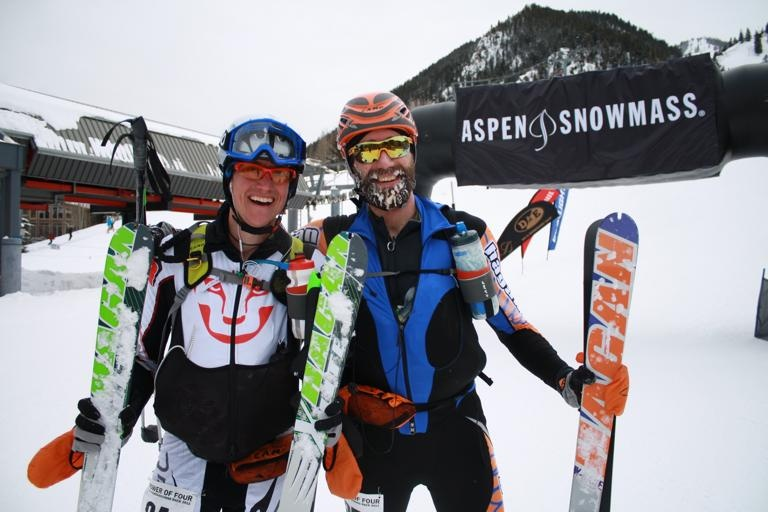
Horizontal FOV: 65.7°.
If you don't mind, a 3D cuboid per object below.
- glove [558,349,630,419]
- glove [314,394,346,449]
[{"bbox_3d":[2.573,1.532,7.340,0.922,0.392,0.538,24,39,4],"label":"glove"},{"bbox_3d":[-0.615,1.952,7.066,0.336,0.530,0.368,14,-5,30],"label":"glove"}]
